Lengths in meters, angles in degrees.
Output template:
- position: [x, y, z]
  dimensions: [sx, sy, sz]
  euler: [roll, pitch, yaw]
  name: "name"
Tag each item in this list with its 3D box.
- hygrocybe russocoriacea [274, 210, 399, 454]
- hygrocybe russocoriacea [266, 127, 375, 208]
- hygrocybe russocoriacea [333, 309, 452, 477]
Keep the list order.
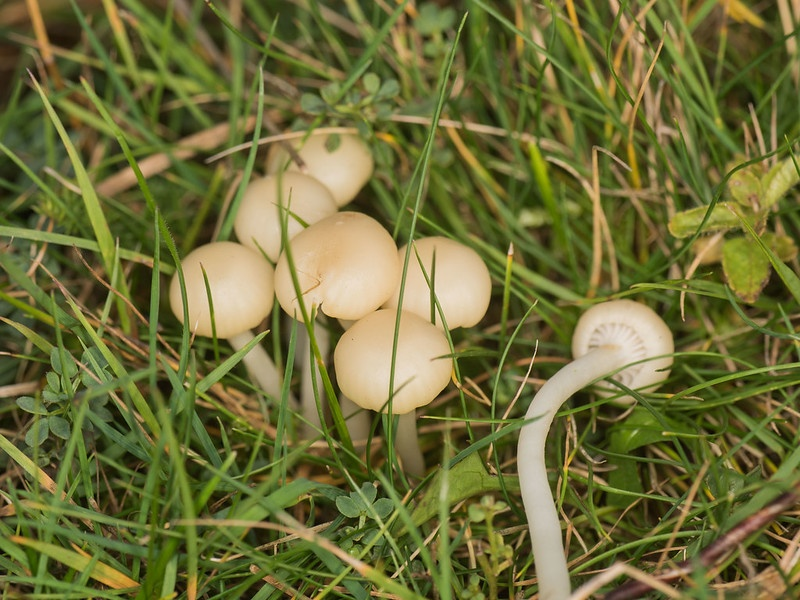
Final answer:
- position: [-0.165, 0.082, 2.065]
  dimensions: [0.313, 0.535, 0.302]
  euler: [-38, 65, -24]
  name: "hygrocybe russocoriacea"
- position: [-0.231, -0.417, 2.282]
  dimensions: [0.242, 0.148, 0.224]
  euler: [-22, 50, -19]
  name: "hygrocybe russocoriacea"
- position: [-0.029, 0.235, 2.056]
  dimensions: [0.193, 0.358, 0.228]
  euler: [-20, 59, -11]
  name: "hygrocybe russocoriacea"
